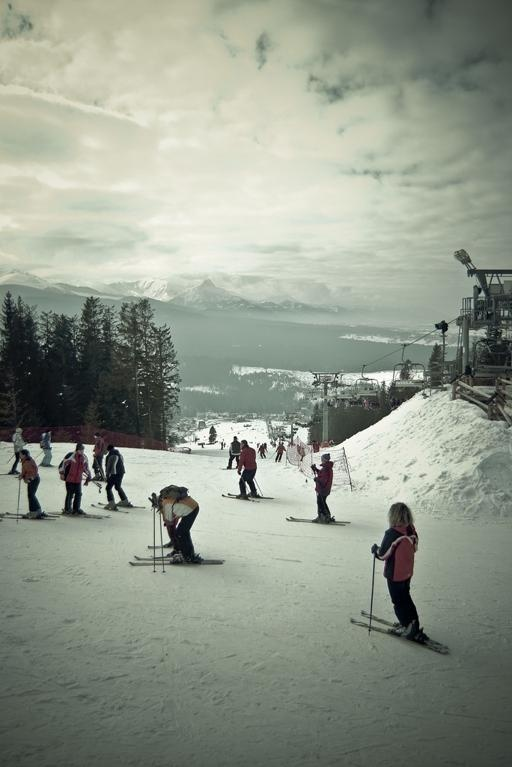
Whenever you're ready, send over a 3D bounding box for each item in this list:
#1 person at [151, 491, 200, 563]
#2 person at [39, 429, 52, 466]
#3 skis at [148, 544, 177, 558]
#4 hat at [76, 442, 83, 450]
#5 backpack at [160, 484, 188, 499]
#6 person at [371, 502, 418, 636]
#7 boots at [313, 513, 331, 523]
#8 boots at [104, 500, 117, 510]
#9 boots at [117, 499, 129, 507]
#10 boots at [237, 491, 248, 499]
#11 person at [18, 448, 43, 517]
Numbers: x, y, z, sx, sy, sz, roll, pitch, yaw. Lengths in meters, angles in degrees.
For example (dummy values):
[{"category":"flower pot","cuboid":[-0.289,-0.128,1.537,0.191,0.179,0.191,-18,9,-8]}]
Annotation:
[{"category":"person","cuboid":[-1.428,2.560,12.735,0.898,0.959,0.977,4,2,-4]},{"category":"person","cuboid":[-7.833,2.536,26.219,0.361,1.277,0.806,4,2,-18]},{"category":"skis","cuboid":[-1.769,3.206,13.351,0.613,0.239,0.189,8,-20,27]},{"category":"hat","cuboid":[-4.050,1.455,16.012,0.171,0.139,0.236,1,3,7]},{"category":"backpack","cuboid":[-1.401,1.942,12.449,0.361,0.142,0.283,4,1,-30]},{"category":"person","cuboid":[1.992,2.613,9.725,0.733,1.599,0.726,5,2,14]},{"category":"boots","cuboid":[1.667,3.487,18.064,0.519,0.229,0.168,5,-12,22]},{"category":"boots","cuboid":[-3.666,3.113,17.903,0.365,0.253,0.144,7,3,34]},{"category":"boots","cuboid":[-3.534,3.216,18.823,0.391,0.257,0.131,1,-3,29]},{"category":"boots","cuboid":[-0.390,3.491,21.817,0.237,0.268,0.636,2,-2,-4]},{"category":"person","cuboid":[-5.711,2.569,17.719,0.678,1.840,0.729,8,38,-11]}]
